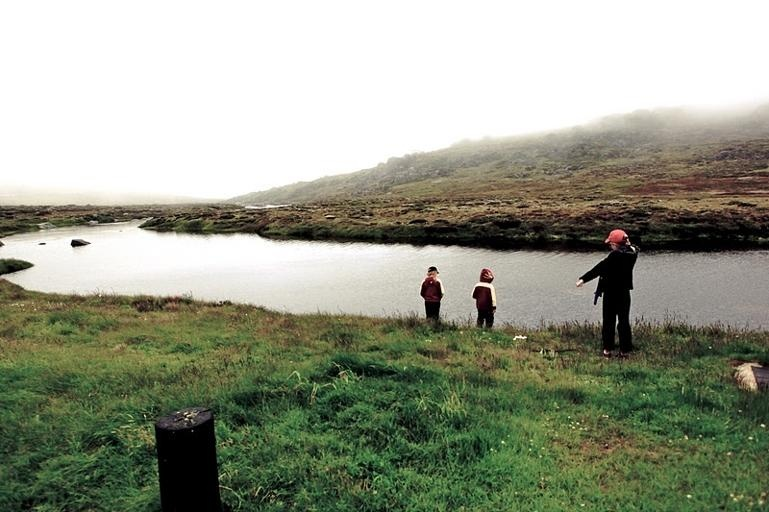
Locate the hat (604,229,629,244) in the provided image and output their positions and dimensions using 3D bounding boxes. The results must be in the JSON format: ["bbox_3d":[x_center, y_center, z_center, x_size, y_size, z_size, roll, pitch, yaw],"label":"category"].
[{"bbox_3d":[8.447,-0.692,21.060,0.784,0.529,1.016,1,9,10],"label":"hat"}]
